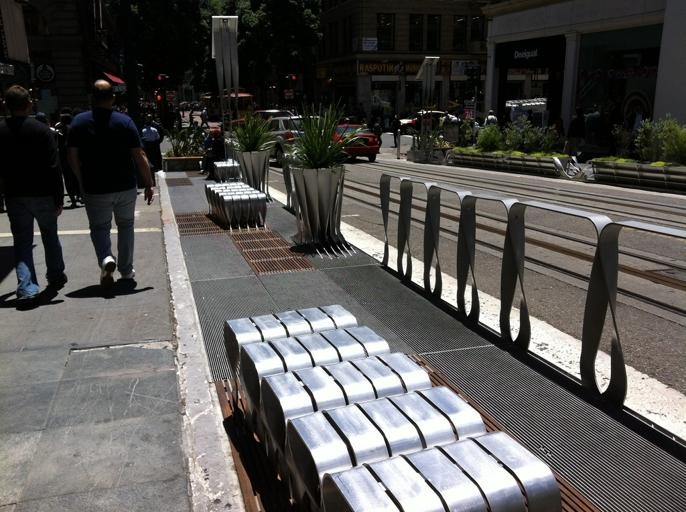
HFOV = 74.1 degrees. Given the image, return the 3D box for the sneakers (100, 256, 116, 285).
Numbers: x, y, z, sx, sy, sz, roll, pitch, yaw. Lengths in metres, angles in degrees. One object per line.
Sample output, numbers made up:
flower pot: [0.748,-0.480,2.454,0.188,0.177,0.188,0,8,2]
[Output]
sneakers: [-2.925,0.160,5.646,0.149,0.462,0.182,-7,32,-35]

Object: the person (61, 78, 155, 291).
person: [-2.920,-0.885,5.781,0.861,2.497,0.704,-6,11,-36]
